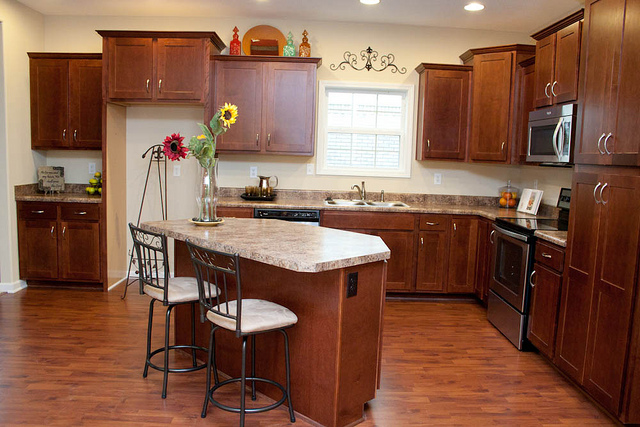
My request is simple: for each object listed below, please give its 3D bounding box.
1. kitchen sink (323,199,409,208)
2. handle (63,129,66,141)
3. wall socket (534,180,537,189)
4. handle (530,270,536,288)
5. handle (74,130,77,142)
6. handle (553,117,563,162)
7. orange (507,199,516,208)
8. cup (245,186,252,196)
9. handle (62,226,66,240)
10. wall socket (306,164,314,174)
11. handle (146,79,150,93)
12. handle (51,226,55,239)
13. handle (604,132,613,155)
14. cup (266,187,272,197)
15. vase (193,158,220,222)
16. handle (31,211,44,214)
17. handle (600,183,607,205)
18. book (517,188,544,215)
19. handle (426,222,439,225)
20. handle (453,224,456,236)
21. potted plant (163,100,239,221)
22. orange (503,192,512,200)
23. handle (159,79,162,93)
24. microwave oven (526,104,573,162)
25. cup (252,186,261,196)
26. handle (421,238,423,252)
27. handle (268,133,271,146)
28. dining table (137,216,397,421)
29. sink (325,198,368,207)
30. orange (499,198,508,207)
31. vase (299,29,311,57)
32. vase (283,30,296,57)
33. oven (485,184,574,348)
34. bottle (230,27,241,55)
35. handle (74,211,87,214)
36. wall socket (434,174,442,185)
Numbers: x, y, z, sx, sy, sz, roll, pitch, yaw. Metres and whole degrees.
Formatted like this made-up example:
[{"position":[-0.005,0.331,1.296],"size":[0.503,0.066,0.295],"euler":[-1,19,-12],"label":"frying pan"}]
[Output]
[{"position":[0.567,-0.127,6.012],"size":[1.015,0.084,0.333],"euler":[-1,8,-2],"label":"kitchen sink"},{"position":[-3.057,-0.937,5.840],"size":[0.037,0.125,0.010],"euler":[-5,9,-25],"label":"handle"},{"position":[2.555,-0.340,5.754],"size":[0.029,0.100,0.063],"euler":[2,9,20],"label":"wall socket"},{"position":[1.969,0.601,4.483],"size":[0.027,0.157,0.074],"euler":[-5,9,-21],"label":"handle"},{"position":[-2.928,-0.915,5.844],"size":[0.032,0.126,0.007],"euler":[-2,8,-3],"label":"handle"},{"position":[2.197,-0.682,4.488],"size":[0.062,0.386,0.052],"euler":[3,9,24],"label":"handle"},{"position":[2.323,-0.122,5.883],"size":[0.086,0.085,0.085],"euler":[7,31,21],"label":"orange"},{"position":[-0.857,-0.270,5.907],"size":[0.099,0.156,0.101],"euler":[0,10,0],"label":"cup"},{"position":[-2.970,0.228,5.667],"size":[0.044,0.153,0.014],"euler":[0,8,5],"label":"handle"},{"position":[-0.117,-0.554,6.146],"size":[0.095,0.119,0.021],"euler":[-3,9,-15],"label":"wall socket"},{"position":[-1.974,-1.462,5.605],"size":[0.042,0.141,0.010],"euler":[-1,8,-1],"label":"handle"},{"position":[-3.105,0.228,5.668],"size":[0.039,0.139,0.007],"euler":[-1,8,0],"label":"handle"},{"position":[2.225,-0.533,3.759],"size":[0.016,0.162,0.067],"euler":[-4,9,-17],"label":"handle"},{"position":[-0.614,-0.257,5.930],"size":[0.070,0.111,0.162],"euler":[-2,8,-6],"label":"cup"},{"position":[-0.980,-0.202,4.215],"size":[0.216,0.546,0.201],"euler":[-3,9,-14],"label":"vase"},{"position":[-3.261,-0.007,5.648],"size":[0.132,0.032,0.004],"euler":[-1,8,0],"label":"handle"},{"position":[2.196,-0.150,3.761],"size":[0.020,0.163,0.078],"euler":[-3,8,-10],"label":"handle"},{"position":[2.379,-0.148,5.572],"size":[0.396,0.281,0.041],"euler":[4,15,-40],"label":"book"},{"position":[1.306,0.118,5.622],"size":[0.146,0.026,0.014],"euler":[-2,8,-8],"label":"handle"},{"position":[1.562,0.194,5.638],"size":[0.030,0.131,0.011],"euler":[-3,9,-9],"label":"handle"},{"position":[-0.982,-0.400,4.251],"size":[0.731,1.000,0.596],"euler":[8,7,36],"label":"potted plant"},{"position":[2.282,-0.206,5.907],"size":[0.080,0.073,0.079],"euler":[2,19,5],"label":"orange"},{"position":[-1.826,-1.469,5.604],"size":[0.036,0.126,0.010],"euler":[-4,9,-17],"label":"handle"},{"position":[2.304,-0.744,4.705],"size":[0.336,0.522,0.641],"euler":[-2,7,-10],"label":"microwave oven"},{"position":[-0.759,-0.264,5.884],"size":[0.103,0.117,0.089],"euler":[1,7,0],"label":"cup"},{"position":[1.184,0.360,5.629],"size":[0.018,0.147,0.007],"euler":[-4,9,-16],"label":"handle"},{"position":[-0.592,-0.874,5.763],"size":[0.034,0.139,0.010],"euler":[-2,8,-6],"label":"handle"},{"position":[-0.200,0.833,3.777],"size":[1.350,1.348,1.045],"euler":[4,9,31],"label":"dining table"},{"position":[0.334,-0.138,6.030],"size":[0.531,0.084,0.295],"euler":[-1,8,1],"label":"sink"},{"position":[2.249,-0.130,5.956],"size":[0.048,0.110,0.086],"euler":[-8,10,-39],"label":"orange"},{"position":[-0.180,-1.998,5.796],"size":[0.123,0.325,0.247],"euler":[-2,8,-2],"label":"vase"},{"position":[-0.363,-2.026,5.825],"size":[0.153,0.380,0.352],"euler":[-2,8,-2],"label":"vase"},{"position":[2.218,0.494,4.845],"size":[0.814,1.439,0.950],"euler":[3,8,11],"label":"oven"},{"position":[-1.000,-2.019,5.772],"size":[0.131,0.303,0.134],"euler":[-1,8,0],"label":"bottle"},{"position":[-2.778,-0.008,5.643],"size":[0.106,0.027,0.016],"euler":[2,2,-2],"label":"handle"},{"position":[1.510,-0.429,6.212],"size":[0.087,0.128,0.016],"euler":[-3,9,-11],"label":"wall socket"}]
